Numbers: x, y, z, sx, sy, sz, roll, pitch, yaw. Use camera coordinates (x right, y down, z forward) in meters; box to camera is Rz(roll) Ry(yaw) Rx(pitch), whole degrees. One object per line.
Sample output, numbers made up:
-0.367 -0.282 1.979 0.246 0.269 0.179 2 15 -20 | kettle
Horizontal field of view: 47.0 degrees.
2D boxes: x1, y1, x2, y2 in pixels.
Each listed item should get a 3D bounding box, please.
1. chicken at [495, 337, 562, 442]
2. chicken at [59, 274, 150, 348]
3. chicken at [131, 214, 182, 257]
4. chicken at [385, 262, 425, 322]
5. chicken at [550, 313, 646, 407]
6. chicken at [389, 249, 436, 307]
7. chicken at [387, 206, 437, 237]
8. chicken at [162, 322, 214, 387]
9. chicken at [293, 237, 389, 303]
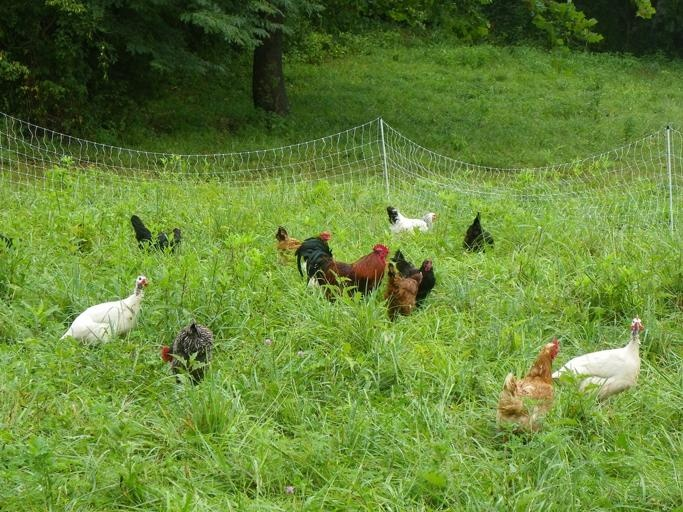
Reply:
1.831 1.355 7.853 0.436 0.991 1.008 9 15 40 | chicken
-2.440 0.566 8.650 1.098 1.009 0.459 -6 9 -19 | chicken
-2.341 -0.181 10.070 0.692 0.692 0.386 2 -17 -22 | chicken
0.648 0.420 9.095 0.279 0.587 0.734 6 15 -14 | chicken
2.623 1.104 8.098 0.947 1.073 0.615 0 -2 10 | chicken
0.715 0.203 9.398 0.318 0.620 0.633 -18 38 -28 | chicken
0.961 -0.515 11.159 0.672 0.320 0.743 4 16 7 | chicken
-1.505 0.952 7.839 0.295 0.521 0.862 20 1 -14 | chicken
-0.065 0.143 9.335 1.121 0.627 0.621 9 17 22 | chicken
